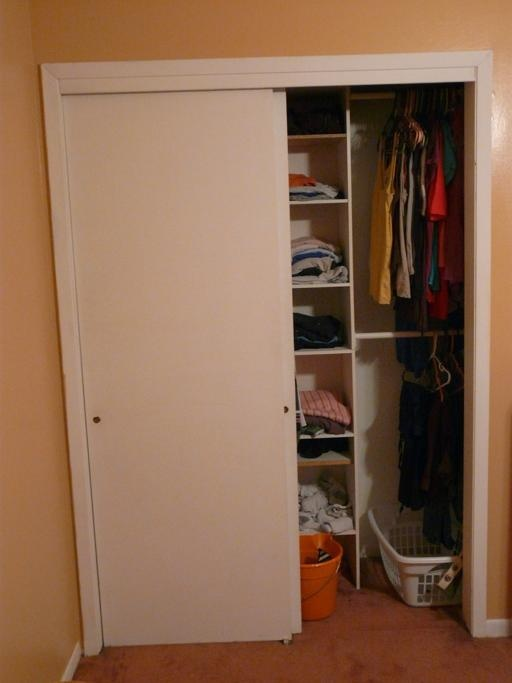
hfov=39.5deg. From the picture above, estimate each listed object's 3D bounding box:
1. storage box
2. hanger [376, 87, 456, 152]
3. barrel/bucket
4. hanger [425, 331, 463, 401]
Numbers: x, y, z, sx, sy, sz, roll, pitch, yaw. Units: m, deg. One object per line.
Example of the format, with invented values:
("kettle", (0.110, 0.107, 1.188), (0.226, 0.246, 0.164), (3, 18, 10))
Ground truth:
("storage box", (0.660, 0.924, 3.074), (0.277, 0.164, 0.392), (0, 6, -2))
("hanger", (0.635, -0.860, 2.771), (0.215, 0.286, 0.094), (2, 7, 18))
("barrel/bucket", (0.254, 0.955, 2.874), (0.248, 0.246, 0.279), (-1, -13, -1))
("hanger", (0.787, 0.103, 2.949), (0.188, 0.246, 0.091), (1, 0, 24))
